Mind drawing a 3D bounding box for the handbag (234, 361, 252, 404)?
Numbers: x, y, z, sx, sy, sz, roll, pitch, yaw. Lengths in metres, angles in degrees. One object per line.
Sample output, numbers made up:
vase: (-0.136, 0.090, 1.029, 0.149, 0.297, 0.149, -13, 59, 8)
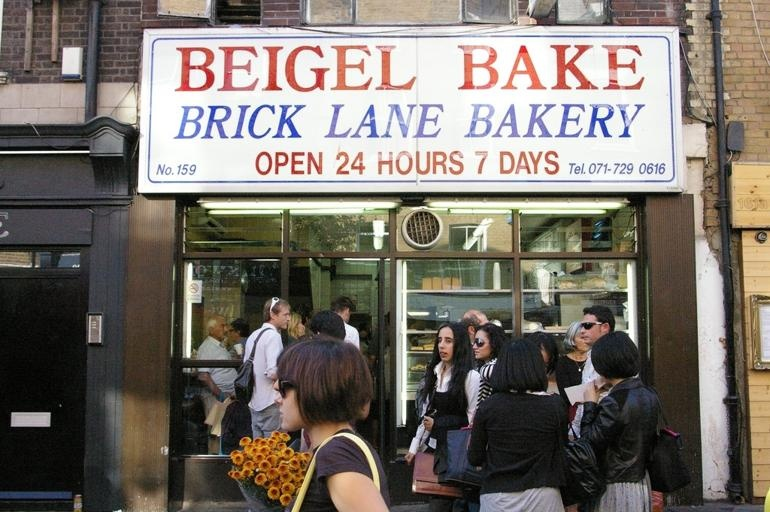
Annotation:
handbag: (-1.883, 1.701, 15.414, 0.308, 0.708, 0.550, 1, -5, -4)

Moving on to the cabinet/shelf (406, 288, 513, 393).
cabinet/shelf: (0.960, 1.147, 15.055, 1.389, 1.372, 0.529, 0, -11, -1)

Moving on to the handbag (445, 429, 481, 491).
handbag: (0.881, 2.366, 13.630, 0.482, 0.662, 0.201, -5, -7, 33)

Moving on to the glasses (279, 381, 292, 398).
glasses: (-1.024, 1.366, 11.853, 0.148, 0.152, 0.047, -3, -5, 13)

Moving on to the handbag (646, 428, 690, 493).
handbag: (3.266, 2.353, 13.408, 0.454, 0.740, 0.204, -2, -6, 12)
